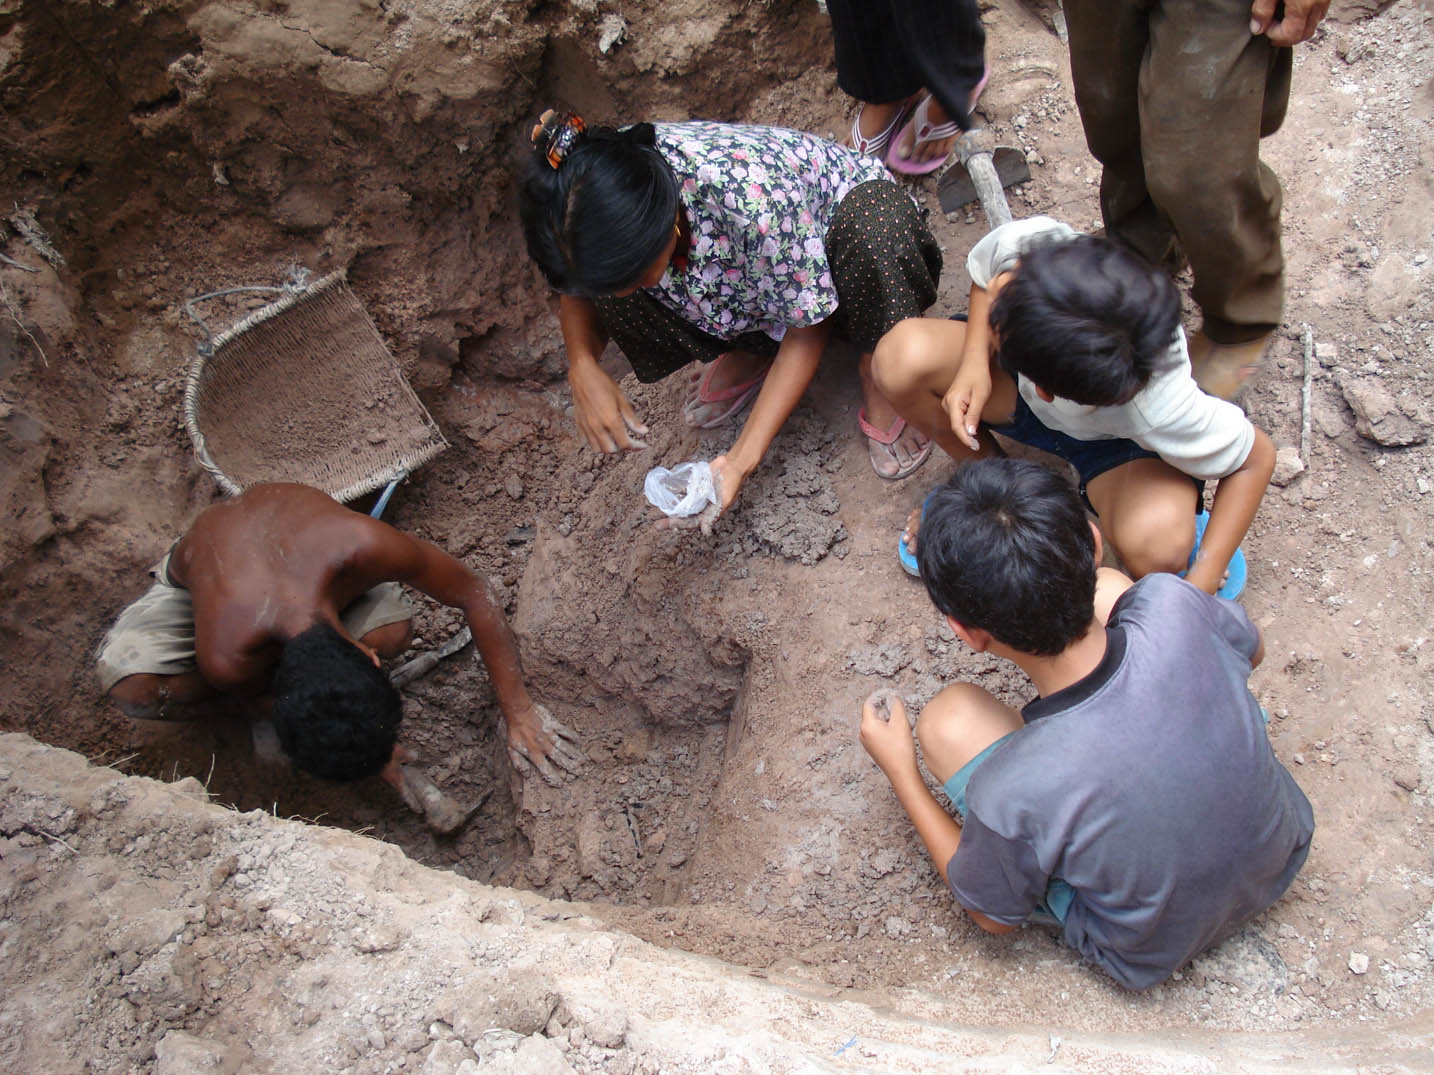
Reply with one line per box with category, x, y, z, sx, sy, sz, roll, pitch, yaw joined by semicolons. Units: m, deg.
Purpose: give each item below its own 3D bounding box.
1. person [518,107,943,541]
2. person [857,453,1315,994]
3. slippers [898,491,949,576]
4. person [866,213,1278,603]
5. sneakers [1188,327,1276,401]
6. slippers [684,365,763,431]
person;0.091;-0.569;3.555;0.873;1.276;0.944;18;96;24
person;0.817;0.419;2.907;0.918;0.712;0.778;16;63;18
slippers;0.510;-0.023;3.452;0.073;0.080;0.219;7;90;22
person;0.842;-0.296;3.134;0.442;0.803;0.726;-44;76;4
sneakers;1.278;-0.435;3.459;0.178;0.180;0.157;-7;53;-1
slippers;0.024;-0.406;3.922;0.210;0.076;0.120;-40;70;19
